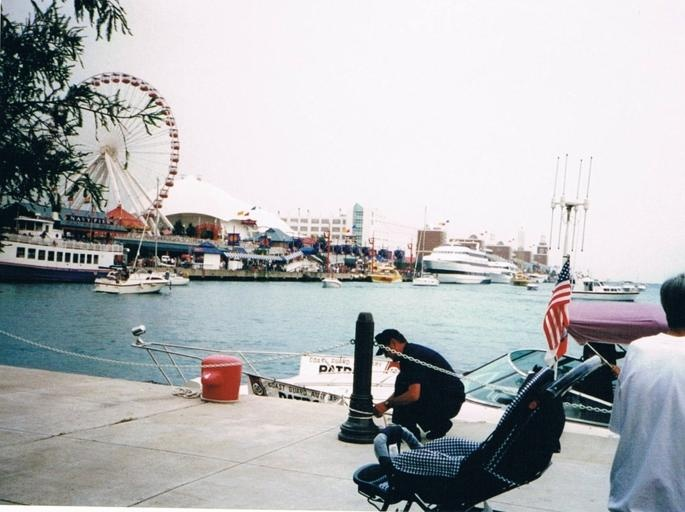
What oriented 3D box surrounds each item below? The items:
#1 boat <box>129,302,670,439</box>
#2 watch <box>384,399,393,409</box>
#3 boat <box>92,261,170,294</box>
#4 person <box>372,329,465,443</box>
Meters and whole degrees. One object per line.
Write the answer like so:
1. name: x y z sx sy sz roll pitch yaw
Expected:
1. boat: 1.521 2.260 9.614 8.024 2.452 1.918 -3 7 -19
2. watch: 0.492 1.593 6.294 0.102 0.102 0.107 2 3 7
3. boat: -22.779 2.871 63.128 8.196 3.021 3.380 0 4 -23
4. person: 0.851 1.452 6.464 1.023 1.253 0.788 1 -7 -4
